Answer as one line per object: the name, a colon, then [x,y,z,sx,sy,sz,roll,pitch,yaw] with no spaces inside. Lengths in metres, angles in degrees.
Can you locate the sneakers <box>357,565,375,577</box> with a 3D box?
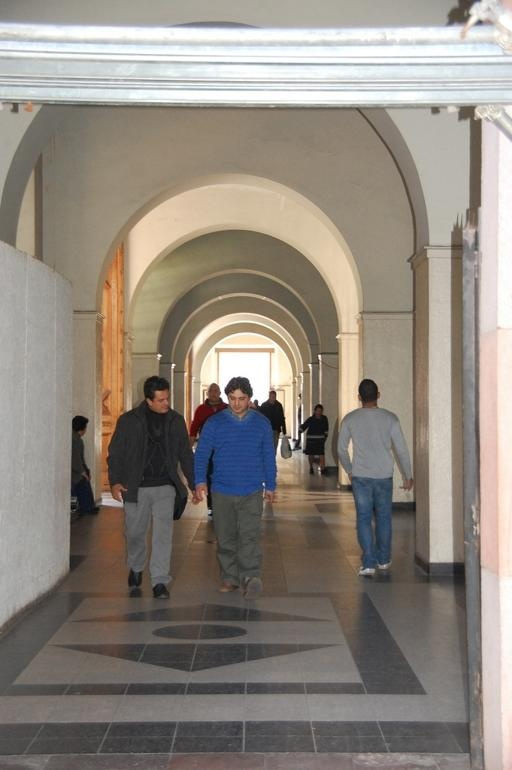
sneakers: [0.891,1.458,6.091,0.051,0.076,0.158,1,0,-3]

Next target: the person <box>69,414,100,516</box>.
person: [-2.147,0.989,9.532,0.339,1.241,1.296,1,-3,-14]

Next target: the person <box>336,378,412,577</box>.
person: [0.968,0.717,6.223,0.579,1.571,0.636,0,-3,6]

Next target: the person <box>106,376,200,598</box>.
person: [-0.745,0.696,5.409,0.604,1.512,0.440,0,-3,-6]

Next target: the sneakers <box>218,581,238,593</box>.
sneakers: [-0.201,1.428,5.476,0.052,0.069,0.145,0,-16,24]

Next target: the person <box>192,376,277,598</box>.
person: [-0.150,0.696,5.310,0.571,1.512,0.611,0,-3,-2]

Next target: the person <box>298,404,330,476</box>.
person: [1.200,1.025,15.552,0.544,1.521,0.421,-5,18,-10]
